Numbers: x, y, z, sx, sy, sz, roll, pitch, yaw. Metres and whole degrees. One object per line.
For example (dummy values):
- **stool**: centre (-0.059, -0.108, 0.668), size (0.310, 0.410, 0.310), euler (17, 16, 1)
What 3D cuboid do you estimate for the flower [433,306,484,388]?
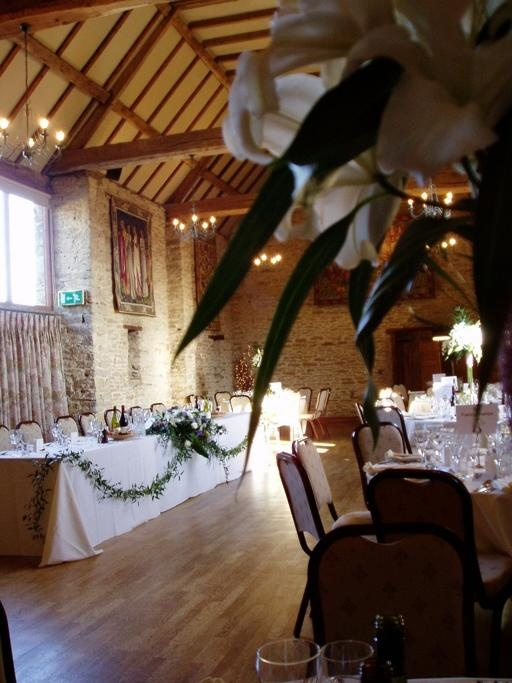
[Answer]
- **flower**: centre (2.013, 0.072, 4.751), size (0.496, 0.732, 0.493), euler (-7, -6, -14)
